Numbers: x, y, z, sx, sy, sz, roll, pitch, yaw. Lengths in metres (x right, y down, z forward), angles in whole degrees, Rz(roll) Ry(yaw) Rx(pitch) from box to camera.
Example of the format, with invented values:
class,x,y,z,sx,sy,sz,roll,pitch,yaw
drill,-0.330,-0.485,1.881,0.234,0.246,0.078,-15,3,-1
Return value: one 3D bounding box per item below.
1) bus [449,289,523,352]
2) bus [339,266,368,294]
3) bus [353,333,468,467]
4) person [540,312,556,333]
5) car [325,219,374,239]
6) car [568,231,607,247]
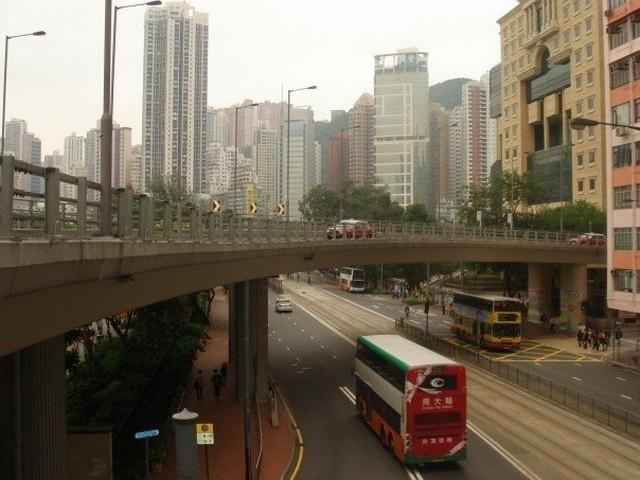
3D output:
class,x,y,z,sx,sy,sz,roll,pitch,yaw
bus,13.478,6.412,58.513,2.683,4.238,8.983,-1,1,-12
bus,5.141,5.942,106.765,1.843,3.128,6.056,1,-3,-12
bus,4.141,7.797,35.945,2.763,5.162,9.291,1,2,-15
person,22.977,8.245,70.627,1.062,2.282,0.710,-2,-5,8
car,2.767,-1.067,58.061,1.902,1.775,3.309,-4,-7,45
car,26.701,-0.112,70.103,4.515,1.103,2.278,-1,3,-13
